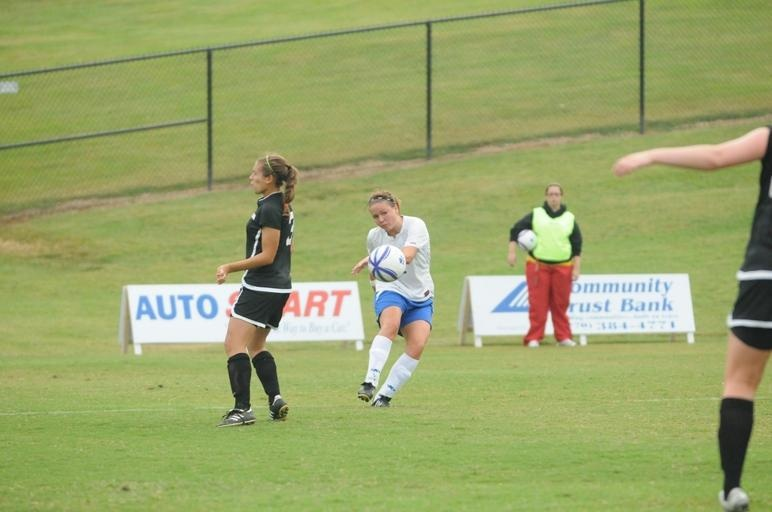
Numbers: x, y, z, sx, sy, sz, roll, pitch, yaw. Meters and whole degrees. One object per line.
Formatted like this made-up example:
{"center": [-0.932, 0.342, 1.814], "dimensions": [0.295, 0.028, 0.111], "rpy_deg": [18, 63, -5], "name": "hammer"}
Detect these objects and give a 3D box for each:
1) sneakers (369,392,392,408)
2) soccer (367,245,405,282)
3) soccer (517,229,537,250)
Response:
{"center": [-0.092, 2.469, 30.116], "dimensions": [0.331, 0.189, 0.178], "rpy_deg": [-11, -7, 19], "name": "sneakers"}
{"center": [-0.046, 0.161, 30.320], "dimensions": [0.719, 0.586, 0.643], "rpy_deg": [1, 4, 6], "name": "soccer"}
{"center": [2.685, -0.289, 34.827], "dimensions": [0.248, 0.420, 0.381], "rpy_deg": [2, -5, -34], "name": "soccer"}
